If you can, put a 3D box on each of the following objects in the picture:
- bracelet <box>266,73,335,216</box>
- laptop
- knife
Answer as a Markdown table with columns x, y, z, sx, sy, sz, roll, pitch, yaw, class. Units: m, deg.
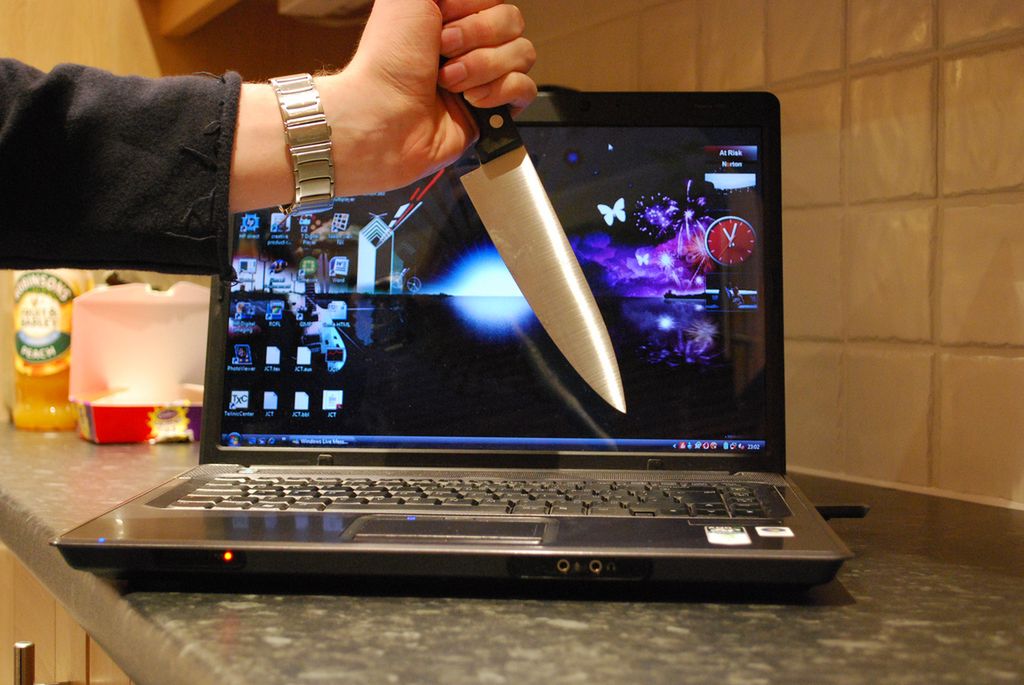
| x | y | z | sx | sy | sz | roll | pitch | yaw | class |
| --- | --- | --- | --- | --- | --- | --- | --- | --- | --- |
| -0.206 | -0.186 | 0.825 | 0.057 | 0.119 | 0.125 | -9 | 29 | -19 | bracelet |
| -0.034 | -0.010 | 0.860 | 0.600 | 0.338 | 0.424 | 0 | 0 | 2 | laptop |
| 0.032 | -0.076 | 0.879 | 0.061 | 0.391 | 0.018 | -31 | -4 | 15 | knife |
